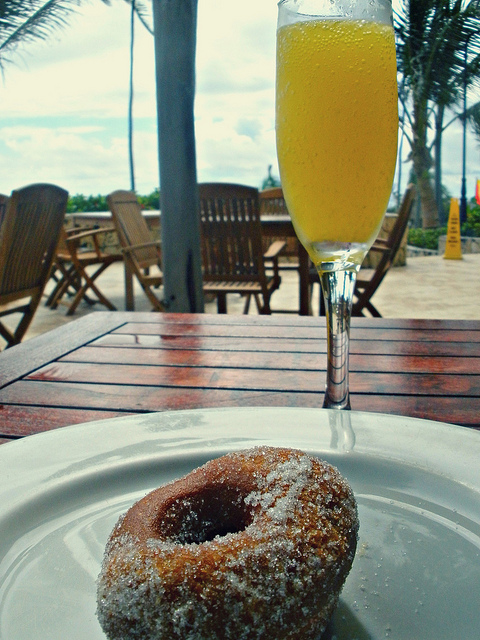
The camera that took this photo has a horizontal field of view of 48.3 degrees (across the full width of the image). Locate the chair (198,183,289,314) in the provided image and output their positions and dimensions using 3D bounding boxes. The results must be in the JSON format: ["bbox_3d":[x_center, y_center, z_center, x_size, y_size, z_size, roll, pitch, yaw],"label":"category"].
[{"bbox_3d":[-0.030,-0.379,3.674,0.594,0.919,0.652,4,7,14],"label":"chair"}]

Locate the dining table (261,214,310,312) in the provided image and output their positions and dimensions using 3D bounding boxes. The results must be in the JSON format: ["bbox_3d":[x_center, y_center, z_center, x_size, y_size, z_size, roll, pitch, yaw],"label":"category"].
[{"bbox_3d":[0.310,-0.604,3.855,0.304,0.545,0.401,0,-28,-4],"label":"dining table"}]

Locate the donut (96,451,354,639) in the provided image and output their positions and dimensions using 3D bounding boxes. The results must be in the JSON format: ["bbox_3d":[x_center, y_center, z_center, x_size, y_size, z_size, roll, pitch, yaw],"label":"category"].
[{"bbox_3d":[-0.002,0.105,0.249,0.124,0.060,0.073,-2,5,-18],"label":"donut"}]
